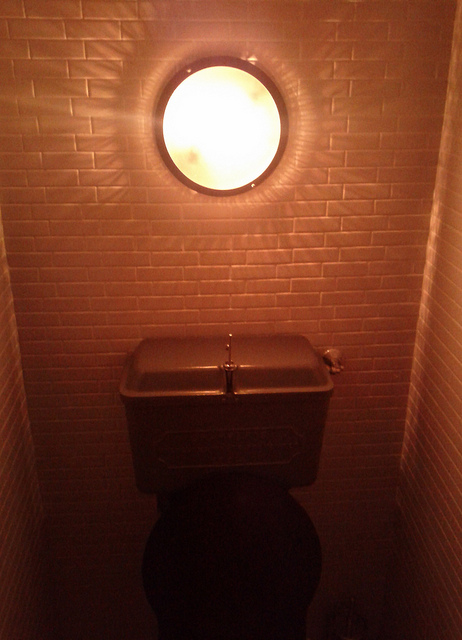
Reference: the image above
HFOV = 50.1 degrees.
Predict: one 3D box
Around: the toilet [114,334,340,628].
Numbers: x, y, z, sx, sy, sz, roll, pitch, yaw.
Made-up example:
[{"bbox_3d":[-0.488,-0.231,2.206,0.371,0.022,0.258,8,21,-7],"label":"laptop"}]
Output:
[{"bbox_3d":[0.000,0.398,1.525,0.513,0.788,0.764,-1,34,1],"label":"toilet"}]
